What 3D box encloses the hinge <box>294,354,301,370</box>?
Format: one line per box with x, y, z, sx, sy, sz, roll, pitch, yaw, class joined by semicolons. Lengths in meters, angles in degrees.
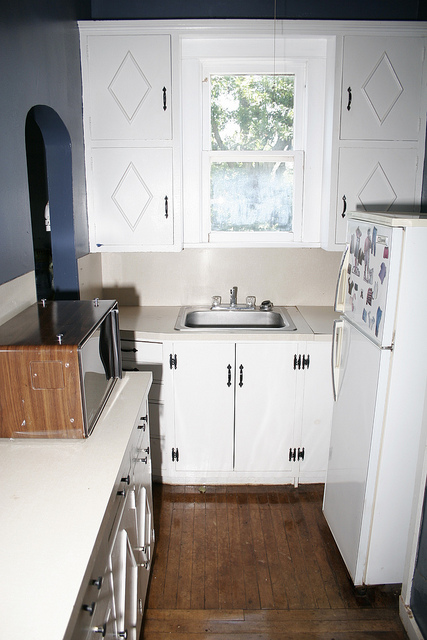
0.448;0.219;2.339;0.040;0.081;0.021;4;-1;1;hinge

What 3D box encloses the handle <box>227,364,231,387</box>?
0.085;0.300;2.363;0.017;0.119;0.014;0;8;-4;handle

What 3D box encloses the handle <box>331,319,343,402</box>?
0.572;0.202;1.990;0.023;0.313;0.025;-1;6;-27;handle

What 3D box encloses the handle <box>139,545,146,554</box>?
-0.242;0.778;1.482;0.021;0.021;0.036;4;-1;-1;handle

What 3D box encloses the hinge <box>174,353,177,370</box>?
-0.204;0.220;2.345;0.013;0.090;0.014;-1;8;-10;hinge

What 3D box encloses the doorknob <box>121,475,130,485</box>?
-0.248;0.450;1.223;0.019;0.020;0.025;2;0;-2;doorknob

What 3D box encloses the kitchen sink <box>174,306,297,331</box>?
0.122;0.013;2.624;0.683;0.121;0.538;1;11;1;kitchen sink

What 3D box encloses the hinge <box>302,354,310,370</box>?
0.496;0.223;2.340;0.039;0.075;0.009;-1;8;-6;hinge

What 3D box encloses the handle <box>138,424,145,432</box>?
-0.260;0.392;1.589;0.017;0.007;0.023;2;4;1;handle

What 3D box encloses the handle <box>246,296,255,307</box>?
0.227;-0.119;2.754;0.053;0.107;0.048;1;23;3;handle

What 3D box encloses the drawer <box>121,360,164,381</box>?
-0.387;0.275;2.392;0.238;0.108;0.027;3;8;12;drawer

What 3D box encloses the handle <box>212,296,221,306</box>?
0.015;-0.113;2.767;0.041;0.065;0.037;-1;4;-12;handle

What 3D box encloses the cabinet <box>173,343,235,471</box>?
-0.215;0.470;2.513;0.337;1.214;0.503;0;8;0;cabinet

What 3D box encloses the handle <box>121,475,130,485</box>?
-0.248;0.450;1.221;0.020;0.021;0.026;2;-1;-2;handle

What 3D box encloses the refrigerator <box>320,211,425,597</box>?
0.622;0.363;1.718;0.239;1.553;0.568;1;8;3;refrigerator
